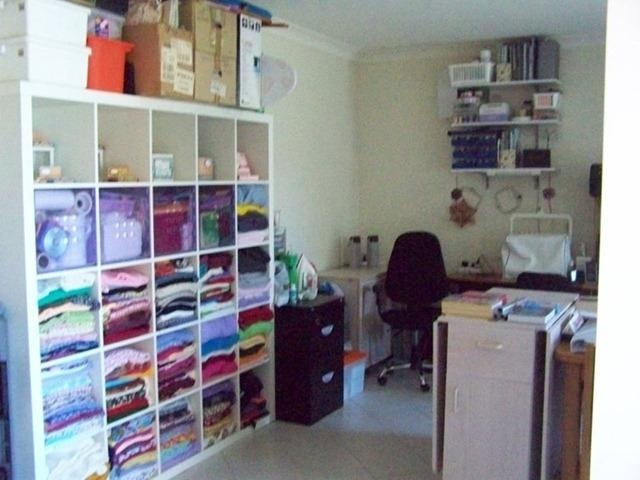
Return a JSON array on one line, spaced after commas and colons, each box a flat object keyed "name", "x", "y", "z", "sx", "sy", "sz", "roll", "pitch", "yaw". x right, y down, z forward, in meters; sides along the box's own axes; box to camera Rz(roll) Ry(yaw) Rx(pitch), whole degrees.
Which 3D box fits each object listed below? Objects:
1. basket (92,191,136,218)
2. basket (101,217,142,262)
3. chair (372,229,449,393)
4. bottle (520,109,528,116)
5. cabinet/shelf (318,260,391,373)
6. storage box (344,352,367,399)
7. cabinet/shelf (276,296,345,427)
[{"name": "basket", "x": -0.892, "y": -0.161, "z": 2.452, "sx": 0.028, "sy": 0.125, "sz": 0.179, "roll": 4, "pitch": 9, "yaw": 33}, {"name": "basket", "x": -0.850, "y": -0.005, "z": 2.431, "sx": 0.039, "sy": 0.173, "sz": 0.165, "roll": 4, "pitch": 4, "yaw": 32}, {"name": "chair", "x": 0.522, "y": 0.441, "z": 3.462, "sx": 0.410, "sy": 0.844, "sz": 0.434, "roll": 8, "pitch": 6, "yaw": 36}, {"name": "bottle", "x": 0.653, "y": -0.405, "z": 1.771, "sx": 0.028, "sy": 0.024, "sz": 0.019, "roll": 1, "pitch": 3, "yaw": -3}, {"name": "cabinet/shelf", "x": 0.236, "y": 0.484, "z": 4.207, "sx": 0.561, "sy": 0.981, "sz": 0.655, "roll": 0, "pitch": 5, "yaw": 26}, {"name": "storage box", "x": 0.221, "y": 0.878, "z": 3.600, "sx": 0.199, "sy": 0.274, "sz": 0.268, "roll": 0, "pitch": 4, "yaw": 13}, {"name": "cabinet/shelf", "x": -0.074, "y": 0.715, "z": 3.386, "sx": 0.313, "sy": 0.650, "sz": 0.419, "roll": -1, "pitch": 1, "yaw": 31}]
